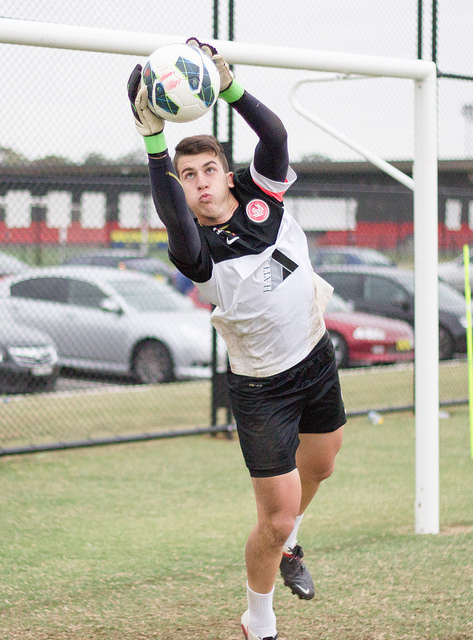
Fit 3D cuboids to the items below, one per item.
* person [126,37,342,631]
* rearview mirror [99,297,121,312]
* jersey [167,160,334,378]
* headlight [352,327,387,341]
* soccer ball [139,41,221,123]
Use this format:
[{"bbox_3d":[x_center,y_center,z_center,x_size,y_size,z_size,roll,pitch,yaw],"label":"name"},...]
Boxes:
[{"bbox_3d":[0.027,0.064,3.159,0.421,1.964,0.716,3,10,28],"label":"person"},{"bbox_3d":[-0.717,-0.092,5.366,0.032,0.094,0.194,2,9,20],"label":"rearview mirror"},{"bbox_3d":[0.031,-0.218,3.208,0.549,0.723,0.365,-35,24,-31],"label":"jersey"},{"bbox_3d":[0.868,0.086,6.215,0.056,0.077,0.207,6,-6,-44],"label":"headlight"},{"bbox_3d":[-0.167,-0.770,3.013,0.257,0.293,0.262,-5,-1,0],"label":"soccer ball"}]
